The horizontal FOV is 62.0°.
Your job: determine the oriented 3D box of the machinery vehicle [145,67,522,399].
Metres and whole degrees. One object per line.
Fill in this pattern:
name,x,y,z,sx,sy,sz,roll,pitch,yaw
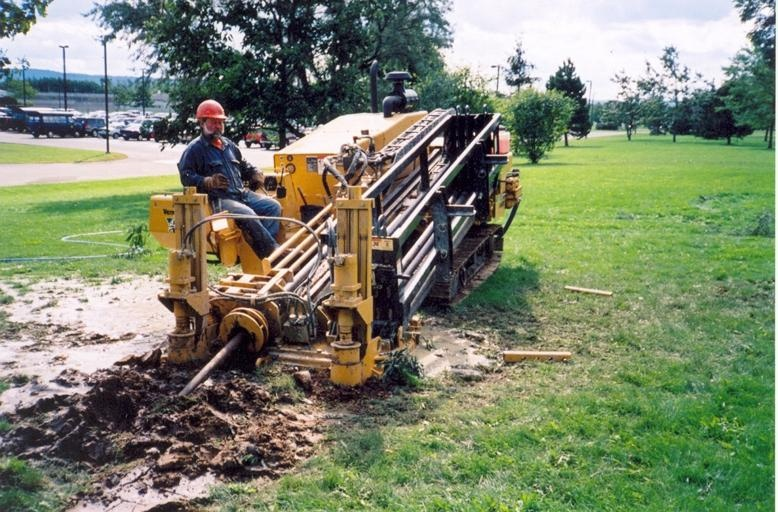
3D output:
machinery vehicle,-0.459,-0.440,9.327,3.275,2.477,5.813,8,25,21

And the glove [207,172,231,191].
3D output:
glove,-2.190,-0.976,8.288,0.317,0.184,0.156,8,13,32
